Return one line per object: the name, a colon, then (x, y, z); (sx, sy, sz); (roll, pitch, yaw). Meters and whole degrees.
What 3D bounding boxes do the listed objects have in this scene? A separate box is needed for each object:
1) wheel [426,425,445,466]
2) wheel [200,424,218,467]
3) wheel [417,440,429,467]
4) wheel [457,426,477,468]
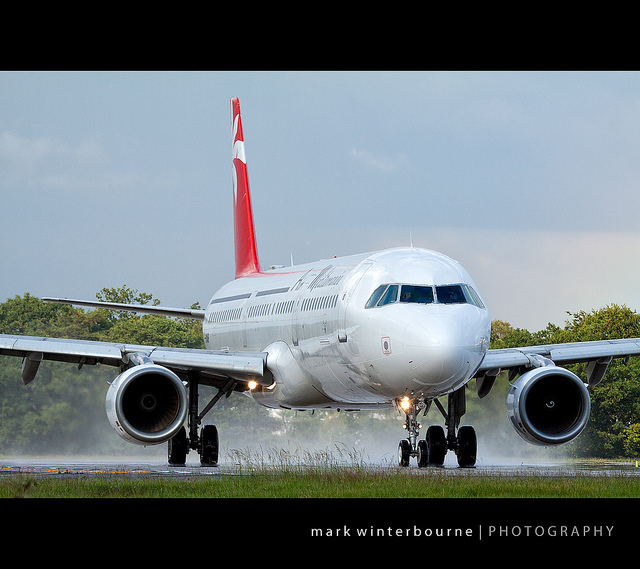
wheel: (2.083, 2.919, 21.278); (0.257, 0.805, 0.759); (-1, 1, -2)
wheel: (-2.322, 3.360, 24.500); (0.324, 0.935, 0.883); (0, -1, -3)
wheel: (1.870, 3.051, 21.336); (0.153, 0.525, 0.497); (-1, 3, -2)
wheel: (2.789, 3.083, 22.419); (0.327, 0.945, 0.894); (-1, 2, -1)
